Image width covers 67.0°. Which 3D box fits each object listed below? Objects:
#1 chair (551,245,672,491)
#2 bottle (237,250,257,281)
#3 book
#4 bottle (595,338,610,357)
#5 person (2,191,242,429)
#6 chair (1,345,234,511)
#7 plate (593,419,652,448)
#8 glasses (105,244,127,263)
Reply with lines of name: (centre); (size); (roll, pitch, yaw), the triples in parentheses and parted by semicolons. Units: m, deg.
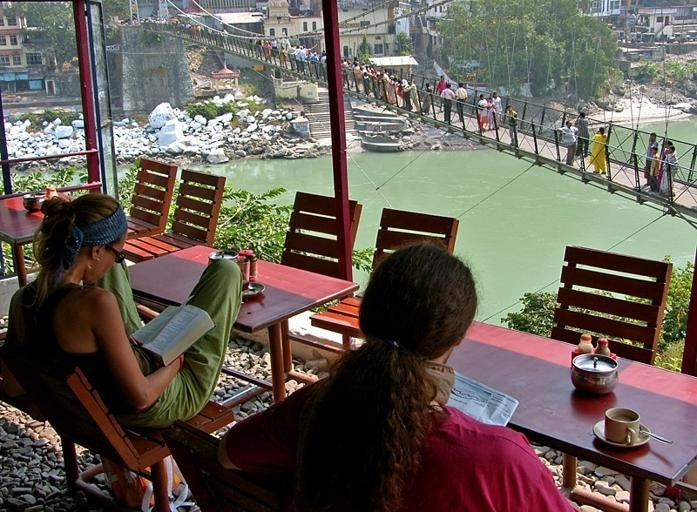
chair: (1.083, 0.483, 2.435); (0.652, 0.864, 0.509); (-22, 24, -40)
bottle: (-0.512, 0.057, 2.711); (0.086, 0.153, 0.159); (-1, 22, -5)
book: (-0.652, 0.280, 1.974); (0.248, 0.093, 0.238); (26, 54, 33)
bottle: (0.882, 0.316, 1.831); (0.052, 0.058, 0.052); (-1, 5, -5)
person: (-0.846, 0.207, 2.007); (0.557, 0.854, 0.716); (15, 11, 23)
chair: (-0.849, 0.641, 1.931); (0.627, 0.612, 0.499); (16, 25, 41)
plate: (0.763, 0.500, 1.467); (0.079, 0.017, 0.080); (8, 15, 20)
glasses: (-0.847, -0.011, 1.924); (0.016, 0.058, 0.055); (-27, 14, -36)
